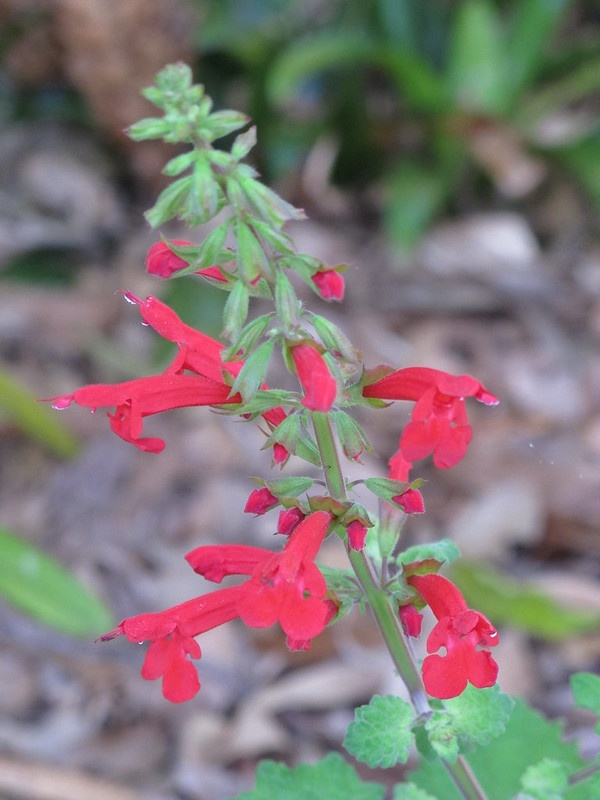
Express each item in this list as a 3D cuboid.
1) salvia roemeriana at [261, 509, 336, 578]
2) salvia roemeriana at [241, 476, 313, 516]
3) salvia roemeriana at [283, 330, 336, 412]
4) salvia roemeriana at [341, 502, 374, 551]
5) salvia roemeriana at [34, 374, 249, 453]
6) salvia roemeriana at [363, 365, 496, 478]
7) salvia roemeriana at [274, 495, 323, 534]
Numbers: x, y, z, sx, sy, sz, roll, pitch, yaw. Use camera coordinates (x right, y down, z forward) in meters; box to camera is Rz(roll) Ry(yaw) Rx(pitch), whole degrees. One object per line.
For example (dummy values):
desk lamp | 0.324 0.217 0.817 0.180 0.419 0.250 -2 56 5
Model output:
salvia roemeriana | 0.011 0.295 1.847 0.180 0.085 0.049 9 67 18
salvia roemeriana | -0.035 0.214 1.945 0.112 0.116 0.040 7 102 21
salvia roemeriana | 0.031 -0.061 1.730 0.090 0.072 0.148 -34 76 19
salvia roemeriana | 0.117 0.278 1.883 0.086 0.041 0.100 -2 71 3
salvia roemeriana | -0.322 -0.009 1.954 0.271 0.119 0.232 -37 75 -10
salvia roemeriana | 0.252 0.024 1.840 0.266 0.176 0.242 26 75 10
salvia roemeriana | -0.007 0.256 1.888 0.061 0.028 0.063 21 74 44
